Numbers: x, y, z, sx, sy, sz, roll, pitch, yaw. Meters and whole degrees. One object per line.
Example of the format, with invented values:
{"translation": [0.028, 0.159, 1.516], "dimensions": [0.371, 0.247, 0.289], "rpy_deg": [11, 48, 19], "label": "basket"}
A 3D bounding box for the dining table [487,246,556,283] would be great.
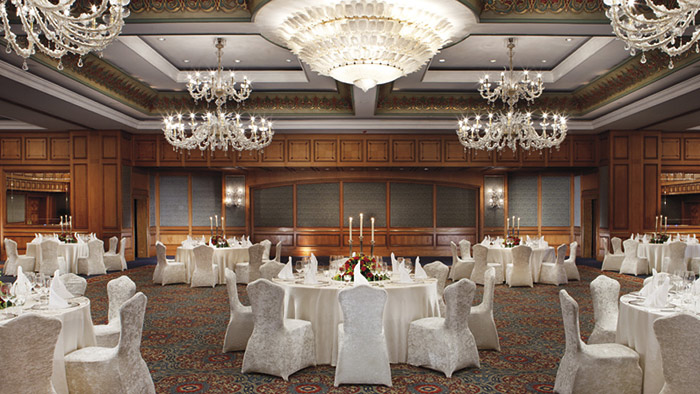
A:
{"translation": [5.058, 1.789, 14.086], "dimensions": [1.342, 0.670, 1.343], "rpy_deg": [-4, -9, 36], "label": "dining table"}

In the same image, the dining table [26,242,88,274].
{"translation": [-8.797, 1.791, 14.654], "dimensions": [1.688, 0.946, 1.638], "rpy_deg": [4, -6, -16], "label": "dining table"}

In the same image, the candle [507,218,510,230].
{"translation": [6.130, 1.032, 18.693], "dimensions": [0.054, 0.393, 0.162], "rpy_deg": [-4, -5, 44], "label": "candle"}

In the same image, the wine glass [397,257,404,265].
{"translation": [1.028, 1.283, 9.921], "dimensions": [0.115, 0.105, 0.112], "rpy_deg": [2, -6, -6], "label": "wine glass"}

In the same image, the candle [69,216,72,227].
{"translation": [-9.793, 0.856, 16.990], "dimensions": [0.064, 0.330, 0.385], "rpy_deg": [1, -5, -35], "label": "candle"}

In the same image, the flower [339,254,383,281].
{"translation": [0.230, 1.377, 9.581], "dimensions": [0.621, 0.365, 0.611], "rpy_deg": [2, -2, 14], "label": "flower"}

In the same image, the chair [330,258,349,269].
{"translation": [-0.244, 1.357, 10.015], "dimensions": [0.244, 0.189, 0.274], "rpy_deg": [5, -9, -36], "label": "chair"}

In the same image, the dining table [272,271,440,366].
{"translation": [0.145, 2.240, 9.280], "dimensions": [1.968, 0.751, 1.968], "rpy_deg": [-4, -6, 31], "label": "dining table"}

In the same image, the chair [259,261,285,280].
{"translation": [-1.669, 1.571, 10.391], "dimensions": [0.434, 0.553, 0.457], "rpy_deg": [3, -6, -7], "label": "chair"}
